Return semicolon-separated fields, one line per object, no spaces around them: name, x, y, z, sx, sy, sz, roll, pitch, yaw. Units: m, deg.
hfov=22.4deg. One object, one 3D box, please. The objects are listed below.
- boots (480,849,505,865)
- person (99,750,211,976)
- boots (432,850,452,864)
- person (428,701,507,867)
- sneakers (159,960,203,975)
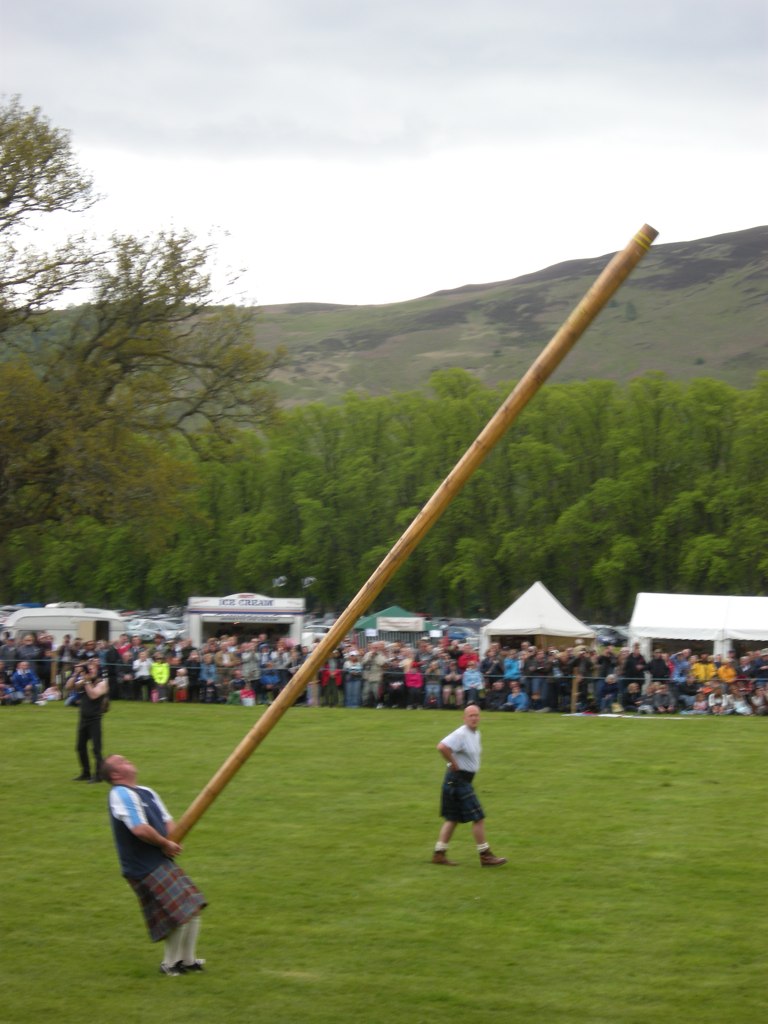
boots;0.951;3.072;17.302;0.224;0.155;0.289;2;2;2
person;-1.606;2.533;13.715;0.708;1.636;0.866;3;3;23
boots;0.500;3.065;17.349;0.153;0.143;0.319;2;2;2
person;0.760;2.438;17.654;0.603;1.414;1.016;2;2;1
sneakers;-1.448;3.306;14.039;0.372;0.133;0.104;4;-8;-4
